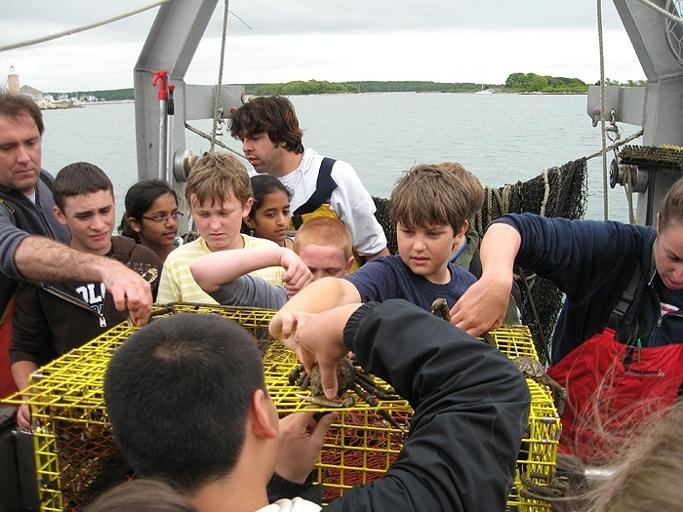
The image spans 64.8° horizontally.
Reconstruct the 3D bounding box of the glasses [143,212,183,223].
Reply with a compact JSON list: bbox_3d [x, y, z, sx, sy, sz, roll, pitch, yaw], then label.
[{"bbox_3d":[-1.393,-0.299,4.132,0.247,0.082,0.099,-4,8,-41],"label":"glasses"}]

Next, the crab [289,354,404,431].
[{"bbox_3d":[-0.051,0.369,1.793,0.292,0.076,0.169,3,5,-11],"label":"crab"}]
